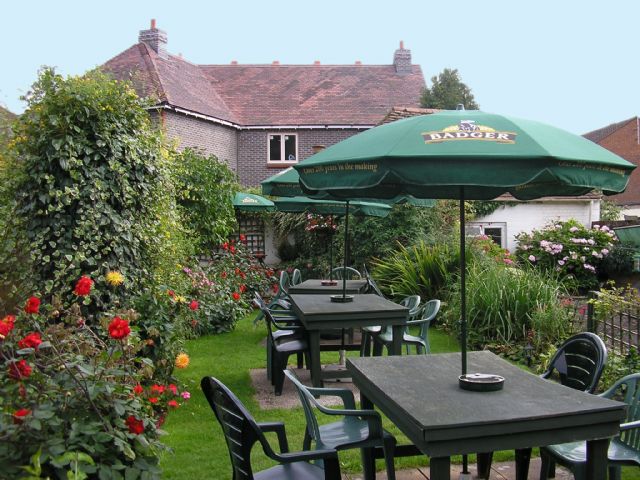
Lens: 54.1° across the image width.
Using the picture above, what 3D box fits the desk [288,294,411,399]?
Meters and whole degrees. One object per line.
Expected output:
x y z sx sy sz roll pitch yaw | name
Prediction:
0.341 0.960 7.621 1.037 0.642 1.737 1 2 -5 | desk

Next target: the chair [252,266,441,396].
0.355 1.095 7.748 1.760 0.761 1.398 0 1 -9 | chair
